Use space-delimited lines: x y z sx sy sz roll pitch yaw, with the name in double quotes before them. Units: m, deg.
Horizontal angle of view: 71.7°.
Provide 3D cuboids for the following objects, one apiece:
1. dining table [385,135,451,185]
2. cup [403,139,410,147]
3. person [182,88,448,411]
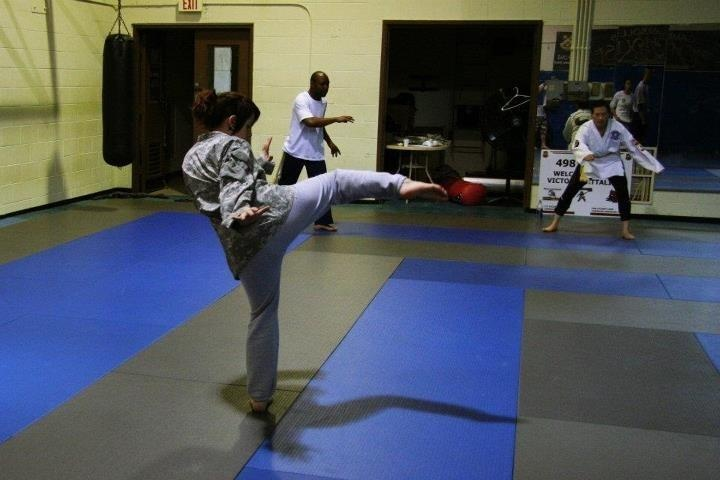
"dining table" 1.137 -1.683 9.808 1.128 0.752 1.165 0 8 7
"cup" 0.823 -1.780 9.147 0.112 0.176 0.180 0 -3 3
"person" -0.427 0.202 2.916 1.124 1.569 0.549 -2 17 -15
